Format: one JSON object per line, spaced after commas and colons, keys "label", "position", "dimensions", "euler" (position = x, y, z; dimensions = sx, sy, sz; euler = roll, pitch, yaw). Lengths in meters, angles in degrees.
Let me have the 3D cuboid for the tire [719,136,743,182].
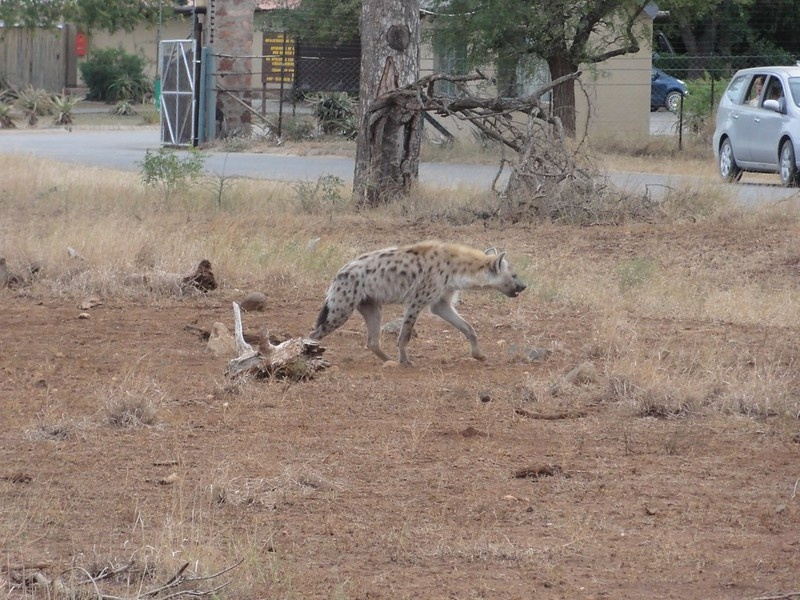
{"label": "tire", "position": [6.913, -2.926, 29.473], "dimensions": [0.286, 1.076, 0.967], "euler": [1, -2, -9]}
